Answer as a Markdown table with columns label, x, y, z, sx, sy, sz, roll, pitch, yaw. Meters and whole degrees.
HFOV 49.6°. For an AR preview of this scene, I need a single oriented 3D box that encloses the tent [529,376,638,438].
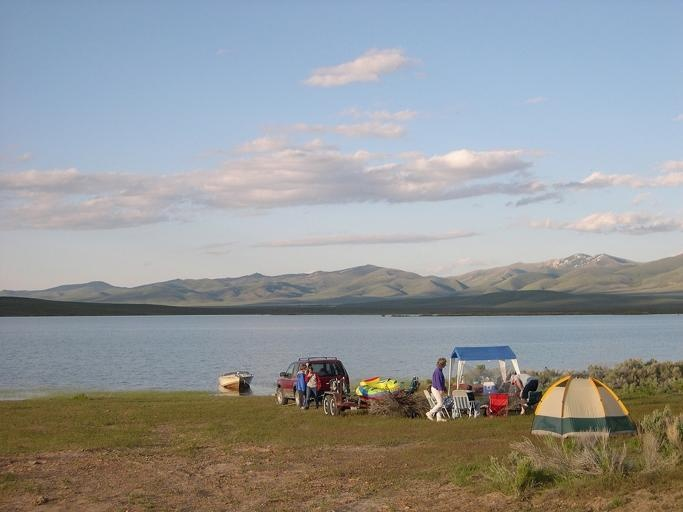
| label | x | y | z | sx | sy | sz | roll | pitch | yaw |
| --- | --- | --- | --- | --- | --- | --- | --- | --- | --- |
| tent | 8.421 | 5.495 | 26.445 | 2.725 | 1.275 | 2.543 | 4 | -10 | -40 |

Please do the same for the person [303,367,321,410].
| label | x | y | z | sx | sy | sz | roll | pitch | yaw |
| --- | --- | --- | --- | --- | --- | --- | --- | --- | --- |
| person | -1.474 | 6.429 | 36.111 | 0.673 | 2.076 | 0.865 | 1 | -3 | -36 |

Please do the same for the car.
| label | x | y | z | sx | sy | sz | roll | pitch | yaw |
| --- | --- | --- | --- | --- | --- | --- | --- | --- | --- |
| car | -1.632 | 6.334 | 37.759 | 2.423 | 1.753 | 4.010 | 1 | -1 | -24 |

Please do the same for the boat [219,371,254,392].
| label | x | y | z | sx | sy | sz | roll | pitch | yaw |
| --- | --- | --- | --- | --- | --- | --- | --- | --- | --- |
| boat | -7.821 | 9.213 | 53.833 | 2.204 | 1.256 | 4.304 | -1 | -4 | -6 |
